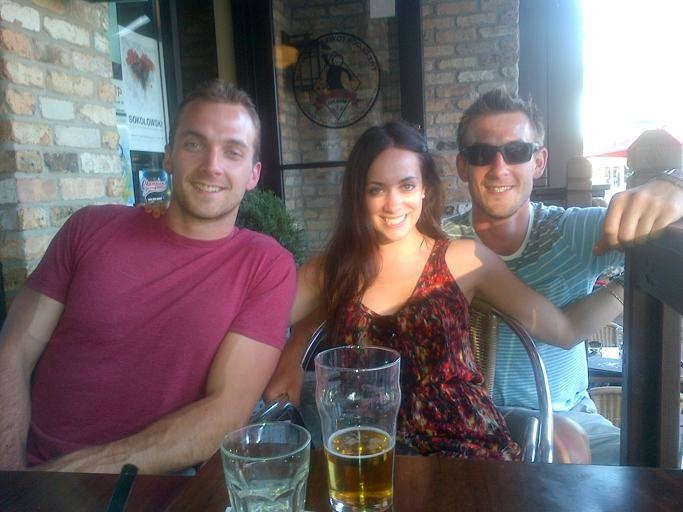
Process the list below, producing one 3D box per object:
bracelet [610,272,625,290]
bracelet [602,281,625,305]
[{"bbox_3d":[0.963,0.089,1.898,0.051,0.027,0.072,-24,0,35],"label":"bracelet"},{"bbox_3d":[0.986,0.136,1.967,0.057,0.062,0.062,-28,40,24],"label":"bracelet"}]
